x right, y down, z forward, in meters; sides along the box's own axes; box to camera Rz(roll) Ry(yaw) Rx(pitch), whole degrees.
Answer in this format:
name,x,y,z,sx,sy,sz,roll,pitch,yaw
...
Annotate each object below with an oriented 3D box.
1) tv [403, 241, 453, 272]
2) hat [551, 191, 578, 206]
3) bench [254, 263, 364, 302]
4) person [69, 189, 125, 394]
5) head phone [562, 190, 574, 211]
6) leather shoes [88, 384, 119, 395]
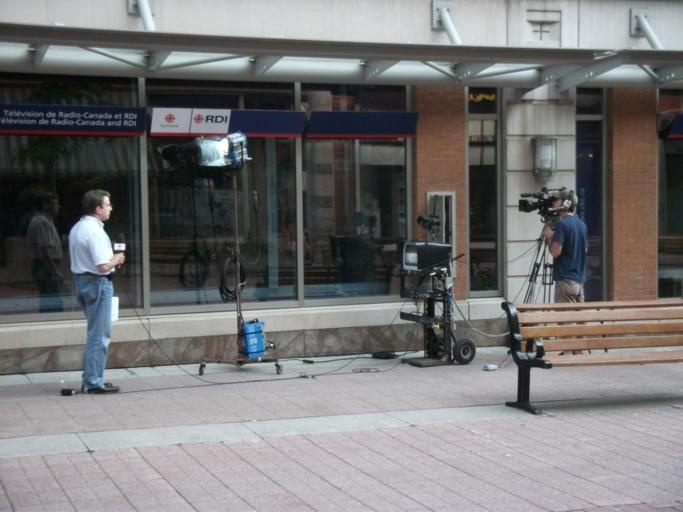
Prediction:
name,x,y,z,sx,sy,sz,roll,pitch,yaw
tv,1.171,-0.001,13.148,0.657,0.415,0.378,1,9,4
hat,3.132,-0.826,13.457,0.285,0.193,0.210,-3,-5,16
bench,-0.064,0.367,14.011,1.150,0.597,0.281,0,-1,-20
person,-2.934,0.430,11.433,0.522,2.373,0.580,-8,12,-43
head phone,3.155,-0.780,13.373,0.124,0.242,0.277,4,0,18
leather shoes,-2.858,1.596,11.414,0.327,0.141,0.139,-2,3,-14
